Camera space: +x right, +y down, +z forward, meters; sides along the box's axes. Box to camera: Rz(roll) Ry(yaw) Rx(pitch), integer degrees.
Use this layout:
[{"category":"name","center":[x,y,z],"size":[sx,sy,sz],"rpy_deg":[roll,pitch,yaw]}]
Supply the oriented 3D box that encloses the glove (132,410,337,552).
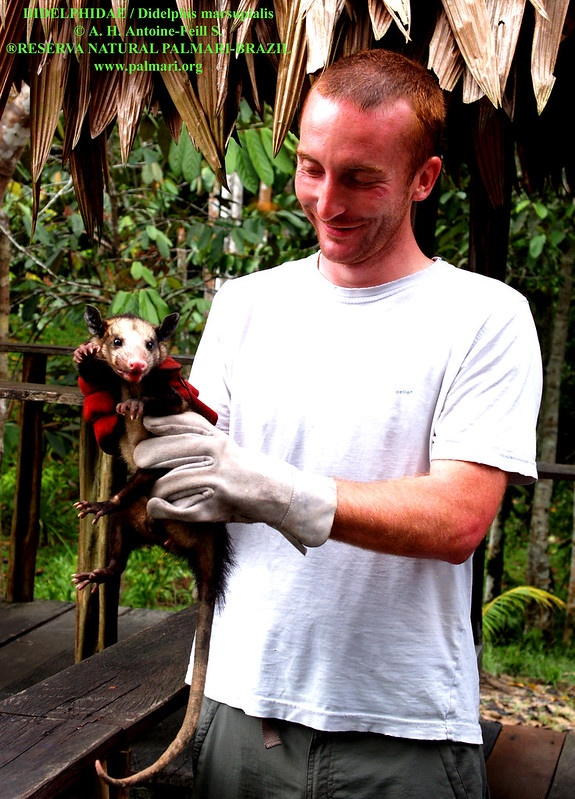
[{"category":"glove","center":[-0.104,0.168,1.607],"size":[0.360,0.115,0.219],"rpy_deg":[12,43,4]}]

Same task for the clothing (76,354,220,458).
[{"category":"clothing","center":[-0.341,0.058,1.915],"size":[0.216,0.141,0.273],"rpy_deg":[-34,-27,-19]}]
